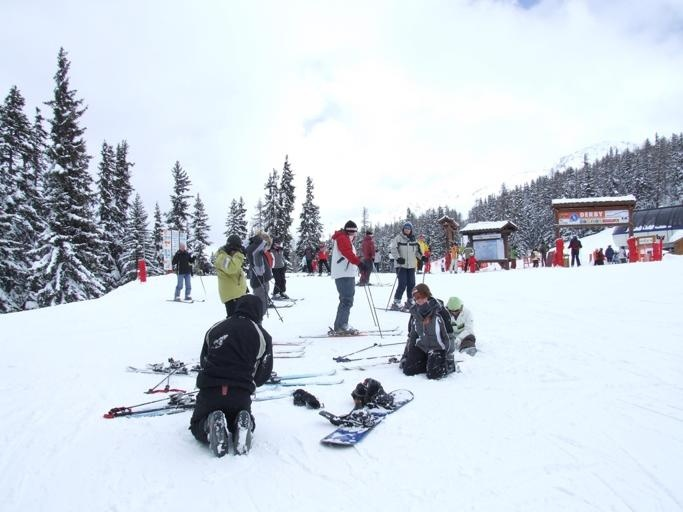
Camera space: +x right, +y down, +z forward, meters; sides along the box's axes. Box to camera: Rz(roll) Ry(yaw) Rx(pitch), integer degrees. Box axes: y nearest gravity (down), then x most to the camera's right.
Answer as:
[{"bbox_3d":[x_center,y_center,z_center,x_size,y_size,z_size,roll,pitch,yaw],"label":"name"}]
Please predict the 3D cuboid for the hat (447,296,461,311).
[{"bbox_3d":[2.356,1.016,11.222,0.245,0.311,0.350,-1,-11,10],"label":"hat"}]

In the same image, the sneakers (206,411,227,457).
[{"bbox_3d":[-1.631,2.325,6.972,0.203,0.659,0.264,3,-6,-25],"label":"sneakers"}]

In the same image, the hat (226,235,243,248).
[{"bbox_3d":[-2.135,-0.268,10.750,0.263,0.398,0.349,4,6,8],"label":"hat"}]

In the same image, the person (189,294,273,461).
[{"bbox_3d":[-1.516,1.613,7.274,1.104,2.067,0.635,-2,1,-17],"label":"person"}]

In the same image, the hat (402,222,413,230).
[{"bbox_3d":[1.683,-0.782,13.771,0.157,0.190,0.217,10,-10,16],"label":"hat"}]

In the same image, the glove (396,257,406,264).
[{"bbox_3d":[1.511,0.128,13.655,0.132,0.178,0.171,4,6,-40],"label":"glove"}]

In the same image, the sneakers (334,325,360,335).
[{"bbox_3d":[0.104,1.692,12.075,0.488,0.251,0.233,-2,-6,2],"label":"sneakers"}]

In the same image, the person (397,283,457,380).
[{"bbox_3d":[1.525,1.365,9.586,0.906,1.683,0.874,0,1,24],"label":"person"}]

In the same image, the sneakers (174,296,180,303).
[{"bbox_3d":[-5.203,1.387,16.839,0.121,0.107,0.133,-1,-7,2],"label":"sneakers"}]
